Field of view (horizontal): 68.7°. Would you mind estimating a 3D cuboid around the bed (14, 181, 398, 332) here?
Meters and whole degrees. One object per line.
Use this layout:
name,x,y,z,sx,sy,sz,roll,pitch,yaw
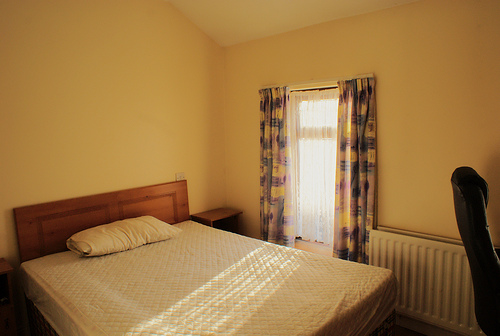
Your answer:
bed,-0.595,0.943,3.584,3.458,1.357,1.659,1,4,11
